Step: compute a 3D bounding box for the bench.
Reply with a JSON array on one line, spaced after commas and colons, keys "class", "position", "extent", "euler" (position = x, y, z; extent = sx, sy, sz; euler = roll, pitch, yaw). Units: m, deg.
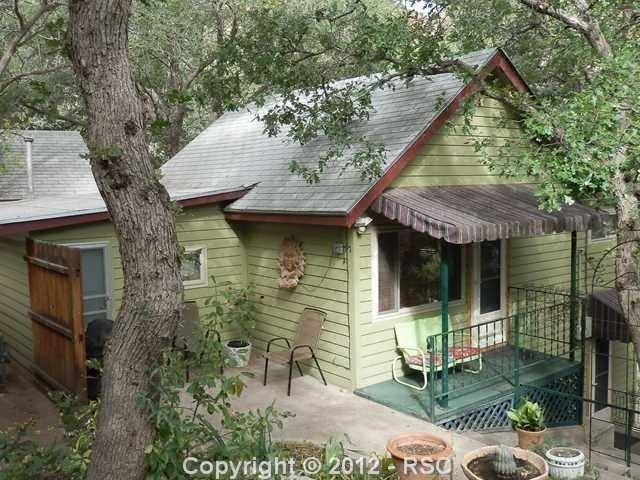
[{"class": "bench", "position": [2.372, 2.247, 11.844], "extent": [1.852, 1.051, 1.101], "euler": [-3, 6, -41]}]

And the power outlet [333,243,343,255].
[{"class": "power outlet", "position": [0.364, 0.174, 11.417], "extent": [0.124, 0.227, 0.229], "euler": [-2, 4, -32]}]

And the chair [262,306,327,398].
[{"class": "chair", "position": [-0.605, 2.150, 12.016], "extent": [1.132, 1.510, 1.914], "euler": [-2, 6, -29]}]

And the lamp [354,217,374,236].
[{"class": "lamp", "position": [0.873, -0.265, 11.289], "extent": [0.336, 0.365, 0.376], "euler": [2, 7, 22]}]

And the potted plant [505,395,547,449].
[{"class": "potted plant", "position": [3.554, 3.187, 10.066], "extent": [0.582, 0.852, 0.566], "euler": [3, 6, 31]}]
